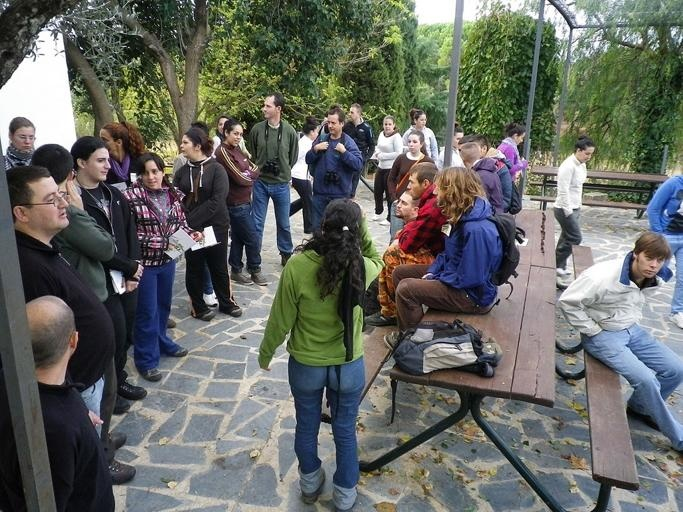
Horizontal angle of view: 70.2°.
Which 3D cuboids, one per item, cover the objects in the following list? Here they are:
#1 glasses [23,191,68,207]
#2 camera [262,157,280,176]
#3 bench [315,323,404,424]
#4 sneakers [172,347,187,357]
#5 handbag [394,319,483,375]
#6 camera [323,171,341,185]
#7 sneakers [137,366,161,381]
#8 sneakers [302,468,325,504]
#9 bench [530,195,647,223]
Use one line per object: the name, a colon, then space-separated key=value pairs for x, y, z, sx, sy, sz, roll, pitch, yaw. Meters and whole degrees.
glasses: x=-1.841 y=-0.350 z=3.020 sx=0.091 sy=0.086 sz=0.230 roll=5 pitch=12 yaw=25
camera: x=-1.081 y=-1.376 z=7.480 sx=0.236 sy=0.248 sz=0.096 roll=2 pitch=20 yaw=-3
bench: x=0.122 y=0.892 z=4.497 sx=0.594 sy=0.366 sz=1.477 roll=2 pitch=13 yaw=10
sneakers: x=-1.839 y=1.085 z=5.548 sx=0.075 sy=0.089 sz=0.219 roll=5 pitch=8 yaw=9
handbag: x=0.748 y=0.697 z=3.713 sx=0.459 sy=0.175 sz=0.405 roll=-9 pitch=21 yaw=6
camera: x=-0.138 y=-1.237 z=7.781 sx=0.197 sy=0.209 sz=0.087 roll=3 pitch=20 yaw=-3
sneakers: x=-2.024 y=1.246 z=5.116 sx=0.261 sy=0.112 sz=0.099 roll=2 pitch=5 yaw=27
sneakers: x=-0.197 y=1.739 z=3.758 sx=0.110 sy=0.211 sz=0.318 roll=2 pitch=16 yaw=11
bench: x=5.871 y=-1.073 z=11.337 sx=1.248 sy=0.433 sz=0.383 roll=10 pitch=35 yaw=16
